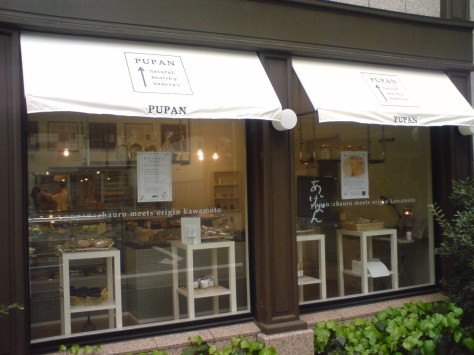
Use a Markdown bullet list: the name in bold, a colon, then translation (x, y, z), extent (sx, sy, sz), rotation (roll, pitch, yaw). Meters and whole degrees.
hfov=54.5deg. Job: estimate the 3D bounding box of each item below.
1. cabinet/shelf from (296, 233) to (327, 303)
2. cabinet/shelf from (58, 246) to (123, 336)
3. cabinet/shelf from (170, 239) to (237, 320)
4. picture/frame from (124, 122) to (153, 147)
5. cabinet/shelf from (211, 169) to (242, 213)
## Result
- **cabinet/shelf**: translation (1.141, 1.419, 7.193), extent (0.533, 1.002, 0.741), rotation (-2, -10, 10)
- **cabinet/shelf**: translation (-1.889, 1.589, 6.030), extent (0.697, 1.265, 0.422), rotation (-2, -5, -21)
- **cabinet/shelf**: translation (-0.474, 1.453, 6.505), extent (0.753, 1.075, 0.620), rotation (2, -6, -34)
- **picture/frame**: translation (-1.321, -0.572, 6.078), extent (0.315, 0.308, 0.027), rotation (-5, -4, -10)
- **cabinet/shelf**: translation (-0.138, 0.195, 6.420), extent (0.404, 0.553, 0.145), rotation (-2, -5, 1)
